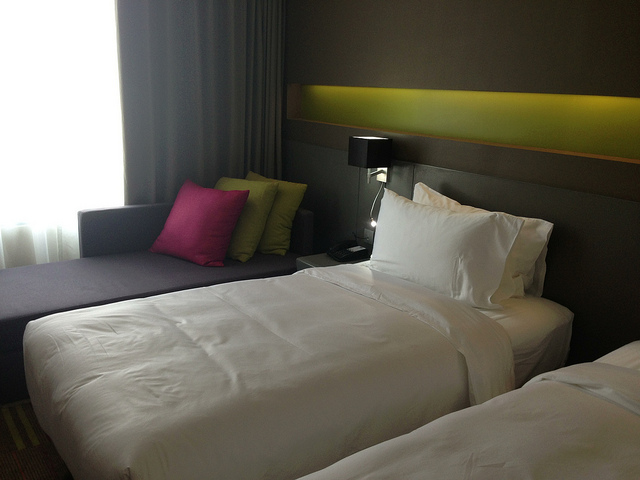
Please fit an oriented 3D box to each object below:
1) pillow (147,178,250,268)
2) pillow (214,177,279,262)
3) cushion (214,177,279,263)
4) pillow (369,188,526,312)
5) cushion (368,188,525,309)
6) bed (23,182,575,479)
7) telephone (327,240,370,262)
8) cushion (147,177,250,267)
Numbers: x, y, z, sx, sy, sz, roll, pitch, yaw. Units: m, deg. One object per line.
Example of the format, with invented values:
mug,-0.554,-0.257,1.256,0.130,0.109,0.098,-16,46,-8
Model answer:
pillow,-0.849,-0.104,3.531,0.600,0.625,0.189,14,-15,37
pillow,-0.545,-0.124,3.610,0.230,0.412,0.472,-15,19,-30
cushion,-0.498,-0.131,3.687,0.534,0.575,0.170,3,-14,37
pillow,0.669,0.031,2.805,0.894,0.531,0.321,17,16,40
cushion,0.669,0.038,2.814,0.347,0.515,0.918,-3,14,-45
bed,-0.003,0.457,2.253,2.157,0.943,1.403,-9,22,-30
telephone,0.209,0.079,3.511,0.217,0.098,0.167,-9,19,-31
cushion,-0.856,-0.091,3.541,0.600,0.619,0.193,11,-17,35
